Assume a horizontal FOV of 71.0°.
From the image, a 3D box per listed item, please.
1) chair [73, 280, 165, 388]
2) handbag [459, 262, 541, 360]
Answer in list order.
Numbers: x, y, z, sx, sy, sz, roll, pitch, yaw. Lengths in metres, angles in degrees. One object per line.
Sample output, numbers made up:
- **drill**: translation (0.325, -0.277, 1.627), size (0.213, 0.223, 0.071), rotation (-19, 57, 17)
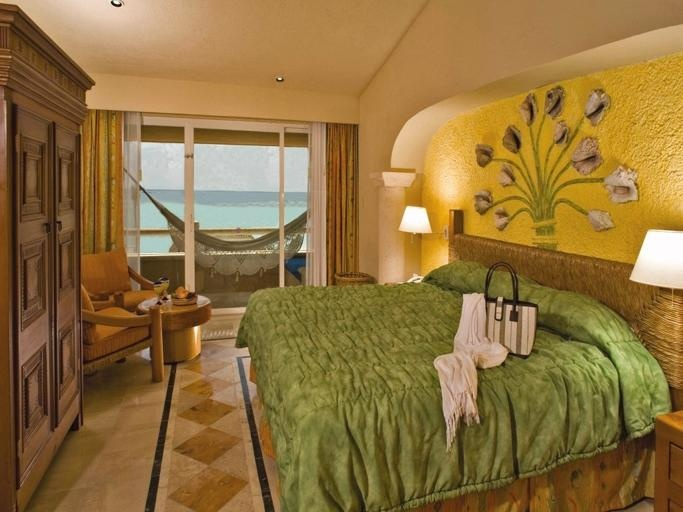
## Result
- **chair**: translation (-1.710, 0.518, 3.907), size (0.757, 0.963, 0.619), rotation (-6, 10, -38)
- **handbag**: translation (1.005, 0.349, 2.962), size (0.099, 0.644, 0.451), rotation (1, 4, -44)
